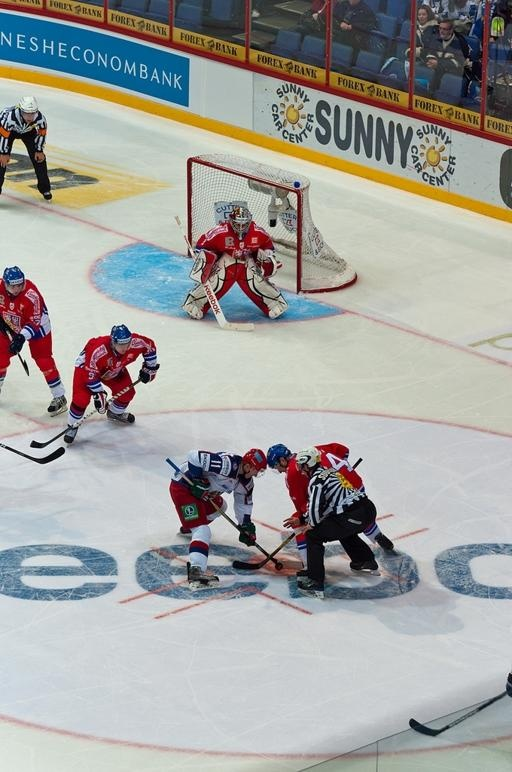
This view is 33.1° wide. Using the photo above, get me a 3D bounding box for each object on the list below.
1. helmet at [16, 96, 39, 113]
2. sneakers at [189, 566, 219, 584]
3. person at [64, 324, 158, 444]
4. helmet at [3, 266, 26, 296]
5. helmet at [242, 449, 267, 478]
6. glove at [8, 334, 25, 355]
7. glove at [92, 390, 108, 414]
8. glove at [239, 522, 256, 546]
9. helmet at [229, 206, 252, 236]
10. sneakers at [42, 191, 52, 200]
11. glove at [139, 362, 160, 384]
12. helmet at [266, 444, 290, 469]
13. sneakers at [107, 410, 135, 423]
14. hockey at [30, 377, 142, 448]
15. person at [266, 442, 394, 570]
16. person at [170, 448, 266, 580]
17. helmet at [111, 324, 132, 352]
[{"bbox_3d":[-3.218,-3.987,12.250,0.270,0.226,0.458,1,16,-13],"label":"helmet"},{"bbox_3d":[-0.323,1.186,5.404,0.198,0.146,0.120,4,17,-3],"label":"sneakers"},{"bbox_3d":[-1.224,-0.047,7.503,0.656,1.090,0.731,9,17,12],"label":"person"},{"bbox_3d":[-2.107,-0.923,7.457,0.199,0.231,0.237,-12,55,-24],"label":"helmet"},{"bbox_3d":[0.010,0.511,5.522,0.153,0.209,0.129,-6,20,-32],"label":"helmet"},{"bbox_3d":[-2.087,-0.367,7.665,0.142,0.171,0.056,-6,-32,31],"label":"glove"},{"bbox_3d":[-1.344,0.135,7.486,0.092,0.108,0.238,-1,48,-7],"label":"glove"},{"bbox_3d":[-0.043,0.976,5.739,0.108,0.151,0.068,-8,16,1],"label":"glove"},{"bbox_3d":[-0.158,-1.839,9.512,0.271,0.308,0.302,-2,51,-4],"label":"helmet"},{"bbox_3d":[-3.125,-2.864,13.012,0.069,0.085,0.141,43,-6,14],"label":"sneakers"},{"bbox_3d":[-0.916,-0.118,7.581,0.159,0.160,0.187,17,37,6],"label":"glove"},{"bbox_3d":[0.152,0.454,5.547,0.179,0.142,0.117,-4,-7,-10],"label":"helmet"},{"bbox_3d":[-1.215,0.304,7.910,0.318,0.089,0.123,5,-19,-6],"label":"sneakers"},{"bbox_3d":[-1.487,0.262,7.707,0.976,0.165,0.116,-30,39,-7],"label":"hockey"},{"bbox_3d":[0.461,0.763,5.644,0.718,0.779,0.501,-12,5,-13],"label":"person"},{"bbox_3d":[-0.250,0.794,5.651,0.577,0.856,0.809,2,17,-9],"label":"person"},{"bbox_3d":[-1.107,-0.416,7.095,0.181,0.215,0.210,-9,54,-17],"label":"helmet"}]
